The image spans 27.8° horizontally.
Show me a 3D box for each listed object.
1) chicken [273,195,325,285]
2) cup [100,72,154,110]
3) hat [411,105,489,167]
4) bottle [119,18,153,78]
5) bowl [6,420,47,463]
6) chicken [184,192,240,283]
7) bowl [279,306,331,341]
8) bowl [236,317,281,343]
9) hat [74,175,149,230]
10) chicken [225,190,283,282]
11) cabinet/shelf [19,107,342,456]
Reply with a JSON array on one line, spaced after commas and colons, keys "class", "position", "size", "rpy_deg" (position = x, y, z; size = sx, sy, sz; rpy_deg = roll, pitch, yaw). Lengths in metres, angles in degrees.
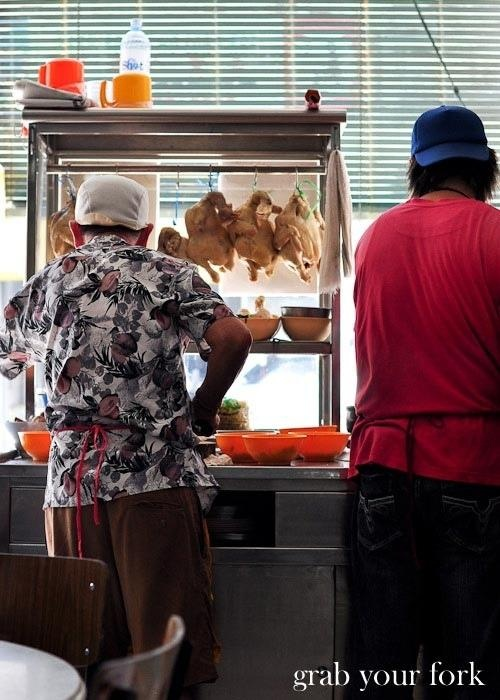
[{"class": "chicken", "position": [0.142, -0.341, 3.200], "size": [0.152, 0.271, 0.094], "rpy_deg": [-8, -2, -24]}, {"class": "cup", "position": [-0.392, -0.809, 3.206], "size": [0.155, 0.115, 0.109], "rpy_deg": [-1, 7, -8]}, {"class": "hat", "position": [0.420, -0.454, 2.152], "size": [0.165, 0.124, 0.236], "rpy_deg": [-3, 10, 13]}, {"class": "bottle", "position": [-0.364, -0.962, 3.196], "size": [0.089, 0.060, 0.219], "rpy_deg": [-1, -32, -9]}, {"class": "bowl", "position": [-0.670, 0.256, 2.990], "size": [0.134, 0.103, 0.136], "rpy_deg": [1, 0, 0]}, {"class": "chicken", "position": [-0.116, -0.362, 3.169], "size": [0.152, 0.295, 0.172], "rpy_deg": [13, 31, 42]}, {"class": "bowl", "position": [0.180, -0.088, 3.114], "size": [0.112, 0.075, 0.109], "rpy_deg": [0, 2, 0]}, {"class": "bowl", "position": [0.040, -0.068, 3.110], "size": [0.085, 0.057, 0.088], "rpy_deg": [-1, 1, 0]}, {"class": "hat", "position": [-0.313, -0.334, 2.338], "size": [0.175, 0.134, 0.252], "rpy_deg": [3, 3, -7]}, {"class": "chicken", "position": [0.008, -0.359, 3.174], "size": [0.122, 0.275, 0.184], "rpy_deg": [-3, 6, -13]}, {"class": "cabinet/shelf", "position": [-0.177, -0.182, 3.160], "size": [0.979, 1.128, 0.394], "rpy_deg": [-2, -10, 2]}]
